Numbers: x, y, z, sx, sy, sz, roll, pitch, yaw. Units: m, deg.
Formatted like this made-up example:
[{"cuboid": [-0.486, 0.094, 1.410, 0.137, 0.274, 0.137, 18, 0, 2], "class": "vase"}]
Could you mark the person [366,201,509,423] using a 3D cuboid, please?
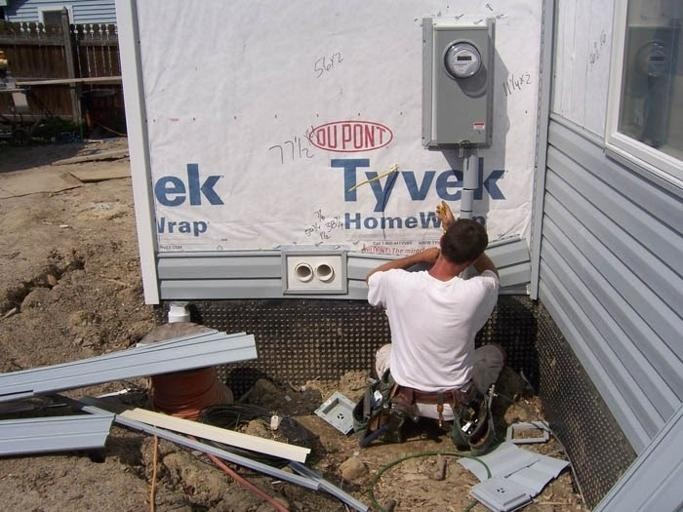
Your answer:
[{"cuboid": [0.817, 0.606, 4.580, 1.317, 1.920, 1.071, 4, 15, 9], "class": "person"}]
